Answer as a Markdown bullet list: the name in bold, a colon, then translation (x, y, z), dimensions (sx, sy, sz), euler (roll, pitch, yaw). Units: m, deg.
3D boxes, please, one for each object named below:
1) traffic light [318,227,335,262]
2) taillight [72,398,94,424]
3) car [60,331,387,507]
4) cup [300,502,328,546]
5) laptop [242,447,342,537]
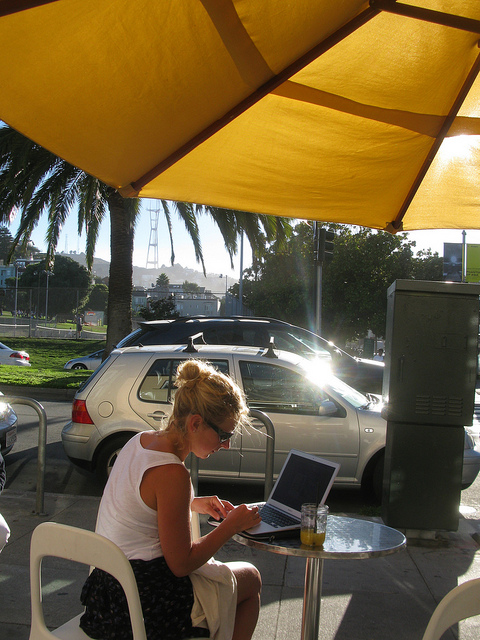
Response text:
- **traffic light**: translation (2.003, -1.751, 11.495), dimensions (0.382, 0.805, 0.468), euler (-2, -4, 11)
- **taillight**: translation (-1.865, 1.078, 5.831), dimensions (0.348, 0.273, 0.107), euler (-4, -5, 42)
- **car**: translation (-0.036, 1.060, 5.753), dimensions (4.028, 1.505, 1.813), euler (0, 1, 0)
- **cup**: translation (0.292, 0.823, 1.987), dimensions (0.108, 0.155, 0.096), euler (1, -12, 14)
- **laptop**: translation (0.146, 0.782, 2.305), dimensions (0.483, 0.291, 0.525), euler (4, -9, -13)
